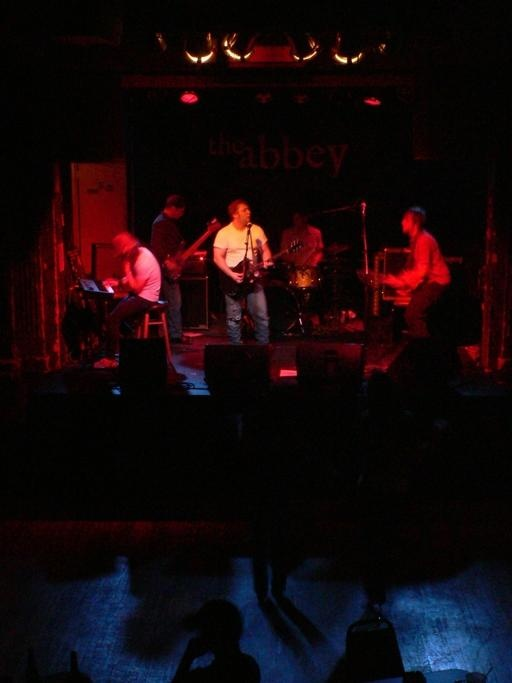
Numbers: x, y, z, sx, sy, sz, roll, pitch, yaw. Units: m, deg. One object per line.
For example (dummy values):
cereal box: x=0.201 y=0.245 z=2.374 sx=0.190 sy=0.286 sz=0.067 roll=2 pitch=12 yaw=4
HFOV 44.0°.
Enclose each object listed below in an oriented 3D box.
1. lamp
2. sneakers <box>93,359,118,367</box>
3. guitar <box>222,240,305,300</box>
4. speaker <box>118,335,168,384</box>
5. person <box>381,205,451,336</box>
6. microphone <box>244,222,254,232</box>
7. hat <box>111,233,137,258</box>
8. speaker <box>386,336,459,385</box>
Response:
lamp: x=0.270 y=-2.596 z=6.024 sx=0.888 sy=0.229 sz=0.871 roll=-2 pitch=1 yaw=-45
sneakers: x=-1.208 y=0.179 z=5.105 sx=0.105 sy=0.048 sz=0.143 roll=-1 pitch=-1 yaw=-34
guitar: x=-0.067 y=-0.675 z=5.543 sx=0.430 sy=0.564 sz=0.250 roll=-6 pitch=11 yaw=-28
speaker: x=-0.682 y=0.106 z=3.799 sx=0.258 sy=0.282 sz=0.270 roll=0 pitch=-2 yaw=-12
person: x=1.385 y=-0.612 z=5.520 sx=0.549 sy=1.108 sz=0.897 roll=2 pitch=10 yaw=14
microphone: x=-0.062 y=-1.007 z=5.548 sx=0.040 sy=0.088 sz=0.062 roll=8 pitch=0 yaw=38
hat: x=-1.026 y=-0.765 z=5.002 sx=0.177 sy=0.191 sz=0.256 roll=-3 pitch=10 yaw=-12
speaker: x=1.094 y=0.077 z=4.192 sx=0.309 sy=0.169 sz=0.434 roll=-5 pitch=14 yaw=-14
